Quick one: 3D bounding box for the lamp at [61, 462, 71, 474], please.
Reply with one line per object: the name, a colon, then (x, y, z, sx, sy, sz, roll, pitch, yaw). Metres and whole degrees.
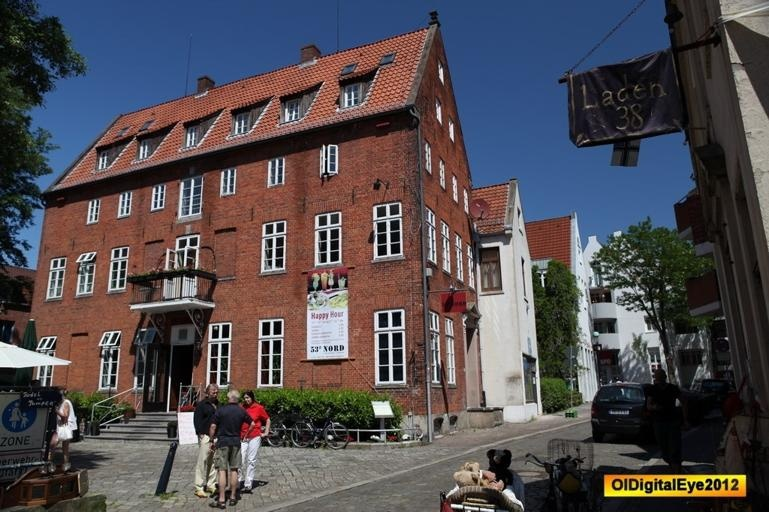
lamp: (-6.391, 4.276, 10.843, 0.139, 0.168, 0.274, 6, -19, -25)

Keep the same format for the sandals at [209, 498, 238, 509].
sandals: (-3.669, 5.665, 12.289, 0.675, 0.273, 0.242, -2, -14, 19)

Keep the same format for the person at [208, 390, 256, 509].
person: (-3.722, 4.553, 12.902, 0.872, 2.621, 1.076, 3, -18, -17)

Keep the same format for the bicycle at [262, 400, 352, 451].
bicycle: (-2.899, 6.638, 20.758, 3.439, 1.509, 1.134, -11, -19, 25)

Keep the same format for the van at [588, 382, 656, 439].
van: (8.272, 5.584, 18.840, 2.115, 1.784, 3.730, -7, -11, 28)

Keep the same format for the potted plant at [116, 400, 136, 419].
potted plant: (-12.572, 7.543, 26.404, 0.888, 0.777, 0.662, -1, -19, -3)
